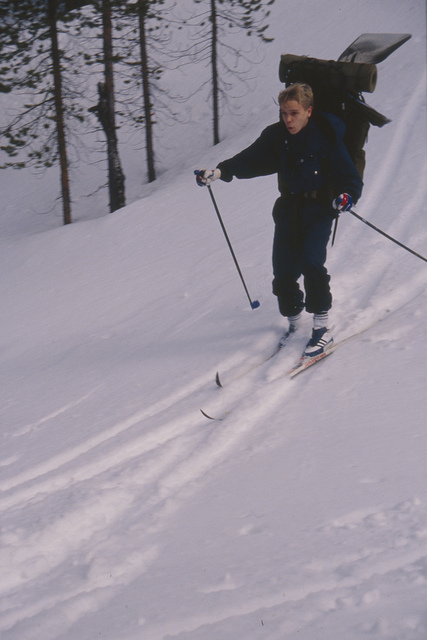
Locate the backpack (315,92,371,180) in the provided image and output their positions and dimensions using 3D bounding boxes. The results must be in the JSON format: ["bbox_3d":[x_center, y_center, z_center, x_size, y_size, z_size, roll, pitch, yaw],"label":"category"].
[{"bbox_3d":[0.889,-1.318,5.317,0.445,0.556,0.359,8,27,20],"label":"backpack"}]

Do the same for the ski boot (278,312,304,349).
[{"bbox_3d":[0.632,0.087,6.016,0.077,0.223,0.225,41,6,34],"label":"ski boot"}]

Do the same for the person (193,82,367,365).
[{"bbox_3d":[0.620,-0.789,5.536,0.410,1.864,1.034,-18,30,-29],"label":"person"}]
